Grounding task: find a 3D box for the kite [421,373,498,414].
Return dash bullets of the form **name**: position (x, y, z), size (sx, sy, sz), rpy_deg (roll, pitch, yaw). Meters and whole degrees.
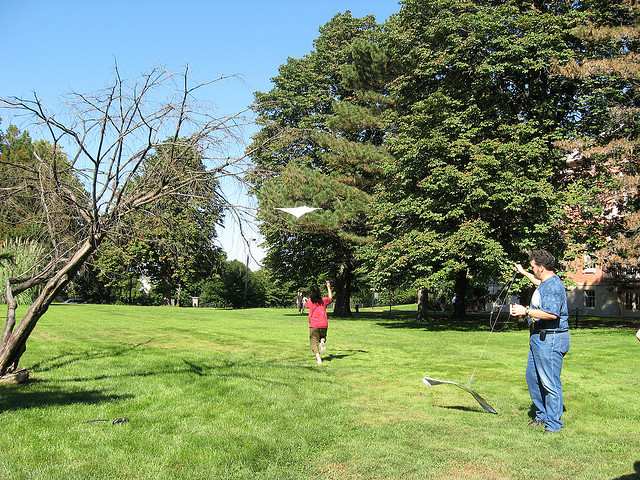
- **kite**: position (3.038, 3.171, 11.518), size (1.459, 0.680, 2.261), rpy_deg (2, 2, 9)
